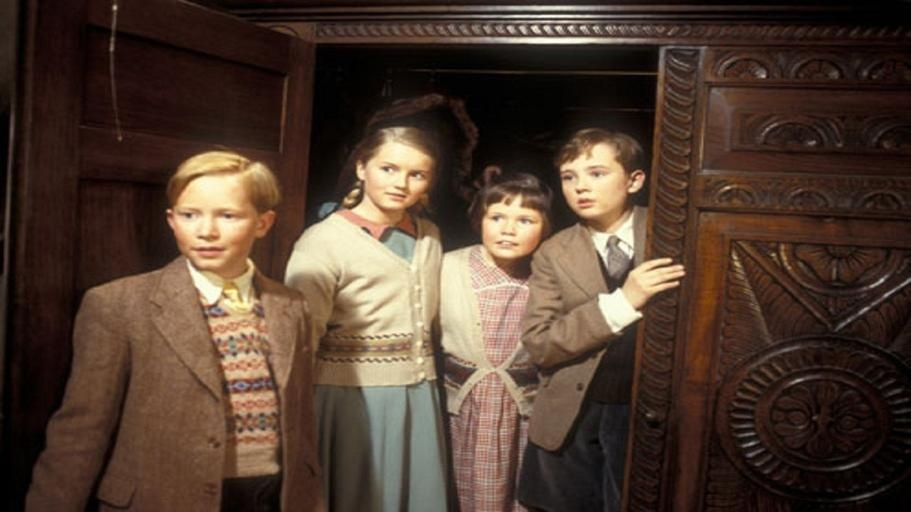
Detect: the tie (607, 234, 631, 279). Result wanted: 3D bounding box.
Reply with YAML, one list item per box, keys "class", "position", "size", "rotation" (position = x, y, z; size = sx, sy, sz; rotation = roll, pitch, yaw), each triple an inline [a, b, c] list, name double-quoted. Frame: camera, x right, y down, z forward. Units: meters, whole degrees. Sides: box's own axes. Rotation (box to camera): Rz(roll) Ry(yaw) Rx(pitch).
- class: "tie"
  position: [0.800, 0.016, 3.477]
  size: [0.137, 0.175, 0.046]
  rotation: [-2, 2, 3]
